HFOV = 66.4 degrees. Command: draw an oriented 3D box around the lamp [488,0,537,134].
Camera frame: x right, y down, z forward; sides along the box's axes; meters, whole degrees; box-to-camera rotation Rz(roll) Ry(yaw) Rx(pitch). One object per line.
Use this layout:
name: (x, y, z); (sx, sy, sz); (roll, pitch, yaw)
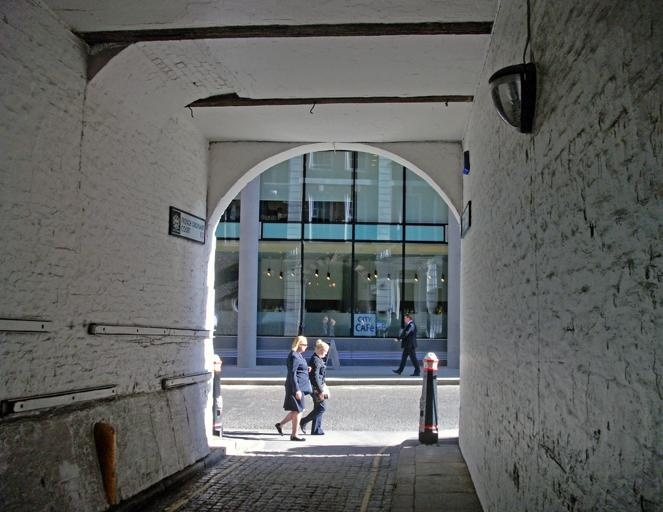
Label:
lamp: (1.031, -1.093, 2.915); (0.252, 0.843, 0.281); (-4, -7, 20)

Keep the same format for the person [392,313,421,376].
person: (2.252, 2.764, 15.565); (0.783, 1.834, 1.240); (-3, -7, 6)

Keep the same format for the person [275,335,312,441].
person: (-0.670, 2.308, 8.940); (0.611, 1.719, 1.075); (-1, -7, -5)

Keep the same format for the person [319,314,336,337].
person: (-0.162, 2.622, 18.675); (0.672, 1.005, 0.191); (0, -13, -3)

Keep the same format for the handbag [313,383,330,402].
handbag: (-0.176, 2.439, 8.854); (0.297, 0.324, 0.116); (-8, -31, 46)
